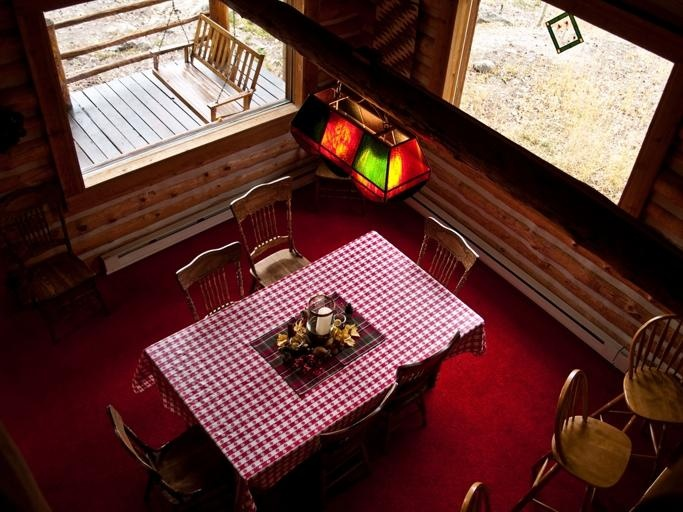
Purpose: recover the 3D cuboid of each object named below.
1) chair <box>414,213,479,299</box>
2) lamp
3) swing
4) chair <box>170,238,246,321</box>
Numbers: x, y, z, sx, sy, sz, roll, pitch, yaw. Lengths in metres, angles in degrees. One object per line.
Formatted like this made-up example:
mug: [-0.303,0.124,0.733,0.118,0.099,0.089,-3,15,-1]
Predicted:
chair: [1.079,0.019,4.898,0.437,0.740,0.406,-41,76,-14]
lamp: [0.097,-0.787,2.793,0.312,0.725,0.829,-30,57,-35]
swing: [-1.627,-2.291,5.803,1.590,0.859,0.702,38,38,29]
chair: [-1.248,0.247,4.520,0.384,0.702,0.434,-33,85,-18]
